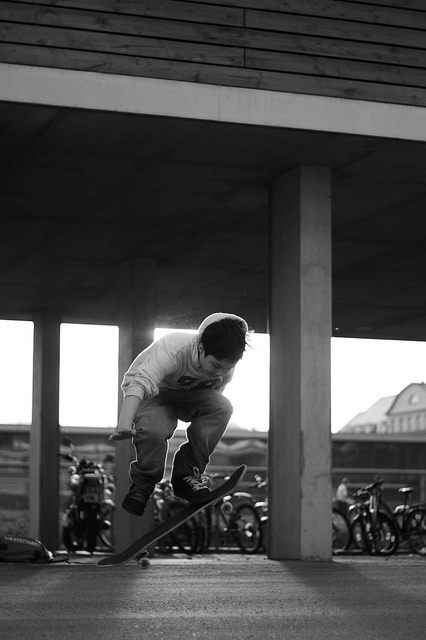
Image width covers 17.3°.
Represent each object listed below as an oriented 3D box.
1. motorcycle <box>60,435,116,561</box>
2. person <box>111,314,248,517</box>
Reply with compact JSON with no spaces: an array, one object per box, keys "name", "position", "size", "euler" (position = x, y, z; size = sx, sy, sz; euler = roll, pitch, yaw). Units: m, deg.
[{"name":"motorcycle","position":[-1.116,1.589,12.389],"size":[0.518,0.769,1.004],"euler":[5,5,-6]},{"name":"person","position":[-0.191,0.524,7.621],"size":[0.735,1.071,0.843],"euler":[2,-12,-13]}]
